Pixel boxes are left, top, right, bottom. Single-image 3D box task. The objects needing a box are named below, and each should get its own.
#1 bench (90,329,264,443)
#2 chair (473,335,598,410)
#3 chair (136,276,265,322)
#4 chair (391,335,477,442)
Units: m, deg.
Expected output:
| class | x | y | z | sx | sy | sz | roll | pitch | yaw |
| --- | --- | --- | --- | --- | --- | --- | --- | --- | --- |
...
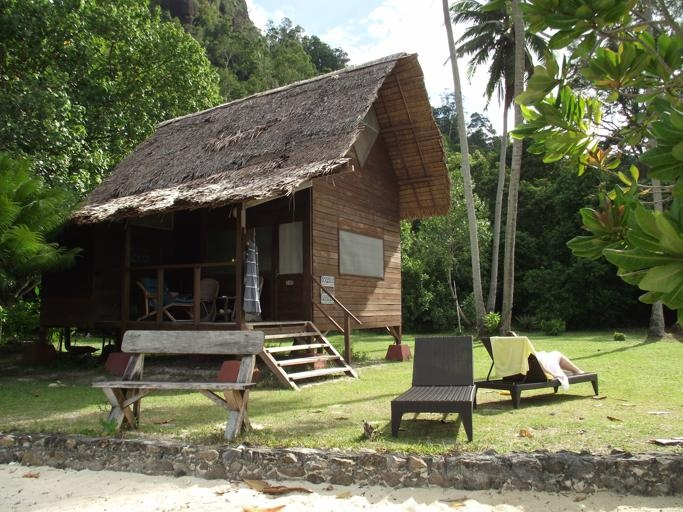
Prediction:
| class | x | y | z | sx | sy | sz | roll | pitch | yaw |
| --- | --- | --- | --- | --- | --- | --- | --- | --- | --- |
| bench | -2.064 | 1.639 | 7.144 | 1.995 | 1.200 | 0.898 | -1 | 0 | 13 |
| chair | 3.154 | 1.781 | 9.102 | 1.734 | 1.011 | 1.162 | 0 | -2 | -37 |
| chair | -3.884 | 1.109 | 14.312 | 2.529 | 1.135 | 3.259 | 2 | -7 | -34 |
| chair | 1.328 | 1.753 | 7.677 | 1.007 | 1.172 | 1.834 | -4 | -6 | 18 |
